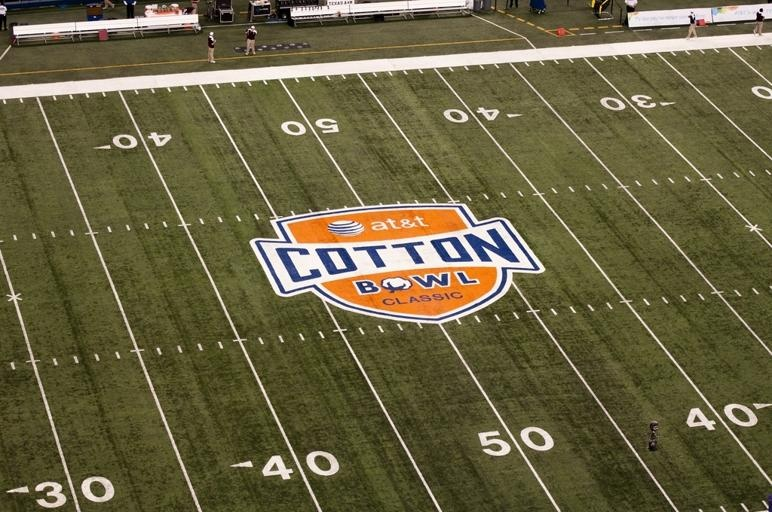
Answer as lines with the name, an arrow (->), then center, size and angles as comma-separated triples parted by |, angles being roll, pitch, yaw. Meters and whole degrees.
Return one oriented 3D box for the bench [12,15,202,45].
bench -> -12.270, -9.891, 69.659 | 7.780, 1.341, 0.783 | -9, 53, -10
